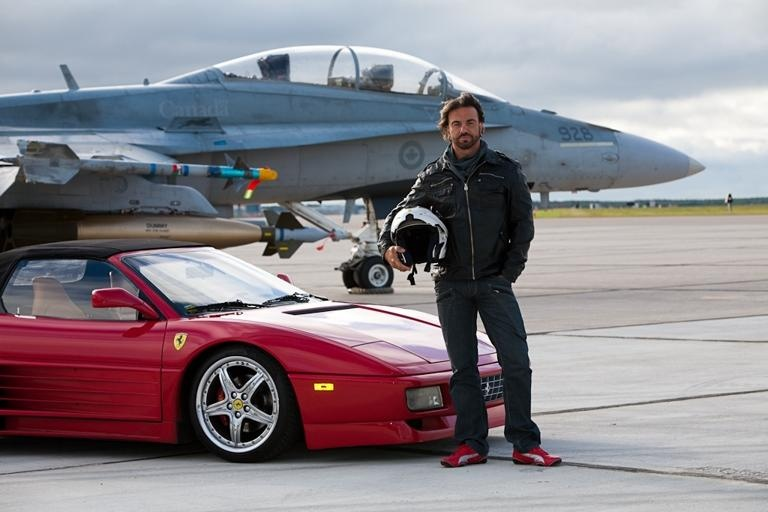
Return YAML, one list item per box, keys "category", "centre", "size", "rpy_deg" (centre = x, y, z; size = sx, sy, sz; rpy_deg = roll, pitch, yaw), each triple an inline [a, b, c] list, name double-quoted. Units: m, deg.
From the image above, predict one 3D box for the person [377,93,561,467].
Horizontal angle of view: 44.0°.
- category: "person"
  centre: [0.684, 0.176, 7.515]
  size: [1.043, 2.911, 0.850]
  rpy_deg: [-5, 10, 6]

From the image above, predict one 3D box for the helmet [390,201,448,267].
- category: "helmet"
  centre: [0.301, -0.134, 7.638]
  size: [0.477, 0.332, 0.525]
  rpy_deg: [-13, -14, 27]

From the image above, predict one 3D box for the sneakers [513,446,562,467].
- category: "sneakers"
  centre: [1.173, 1.570, 7.409]
  size: [0.458, 0.120, 0.131]
  rpy_deg: [-1, -5, 11]

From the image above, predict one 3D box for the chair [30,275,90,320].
- category: "chair"
  centre: [-2.860, 0.381, 8.323]
  size: [0.557, 0.392, 0.359]
  rpy_deg: [3, -3, -13]

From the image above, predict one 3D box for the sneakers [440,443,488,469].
- category: "sneakers"
  centre: [0.707, 1.579, 7.490]
  size: [0.490, 0.127, 0.138]
  rpy_deg: [2, -3, -16]
